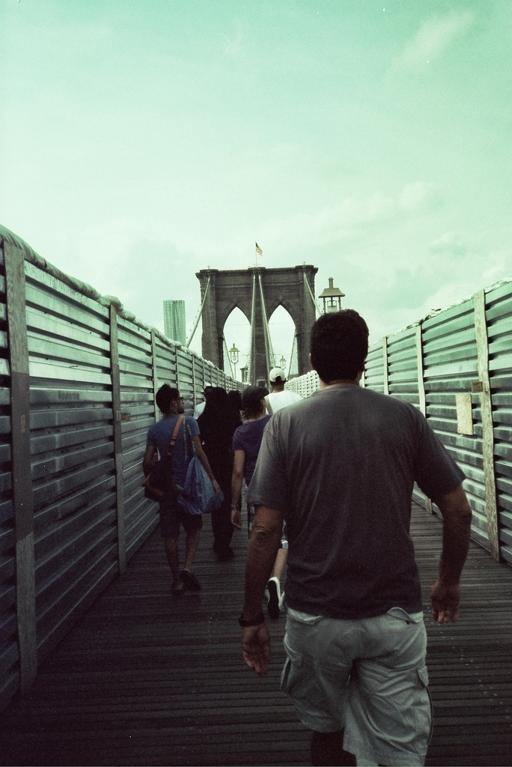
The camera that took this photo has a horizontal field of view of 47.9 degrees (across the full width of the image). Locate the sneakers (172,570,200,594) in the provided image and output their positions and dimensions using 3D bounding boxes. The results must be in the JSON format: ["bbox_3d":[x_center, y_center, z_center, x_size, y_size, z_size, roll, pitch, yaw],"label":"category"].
[{"bbox_3d":[-0.534,1.528,4.396,0.132,0.260,0.106,-2,40,7],"label":"sneakers"}]

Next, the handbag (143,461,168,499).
[{"bbox_3d":[-0.752,0.787,4.617,0.188,0.283,0.280,-1,-14,-4],"label":"handbag"}]

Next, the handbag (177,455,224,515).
[{"bbox_3d":[-0.455,0.825,4.633,0.344,0.474,0.174,-1,-1,-11],"label":"handbag"}]

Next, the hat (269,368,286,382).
[{"bbox_3d":[0.186,-0.070,5.217,0.150,0.124,0.259,1,-1,3],"label":"hat"}]

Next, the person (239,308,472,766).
[{"bbox_3d":[0.302,0.468,1.797,0.707,1.426,0.398,-2,-1,12],"label":"person"}]
